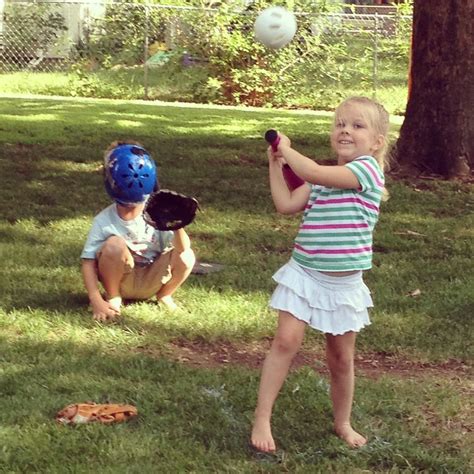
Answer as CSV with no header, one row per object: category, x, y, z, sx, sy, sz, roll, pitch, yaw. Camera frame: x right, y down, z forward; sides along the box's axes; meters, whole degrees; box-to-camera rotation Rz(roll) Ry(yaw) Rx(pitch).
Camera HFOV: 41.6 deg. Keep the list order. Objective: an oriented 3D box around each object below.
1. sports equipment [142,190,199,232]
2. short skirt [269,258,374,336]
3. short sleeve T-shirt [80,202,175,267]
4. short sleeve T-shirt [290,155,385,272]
sports equipment,-0.362,-0.147,3.486,0.284,0.224,0.129,0,11,-3
short skirt,0.351,0.245,2.546,0.421,0.308,0.220,1,11,4
short sleeve T-shirt,-0.591,-0.006,3.941,0.784,0.342,0.318,1,4,18
short sleeve T-shirt,0.405,-0.095,2.515,0.342,0.464,0.211,2,12,8
